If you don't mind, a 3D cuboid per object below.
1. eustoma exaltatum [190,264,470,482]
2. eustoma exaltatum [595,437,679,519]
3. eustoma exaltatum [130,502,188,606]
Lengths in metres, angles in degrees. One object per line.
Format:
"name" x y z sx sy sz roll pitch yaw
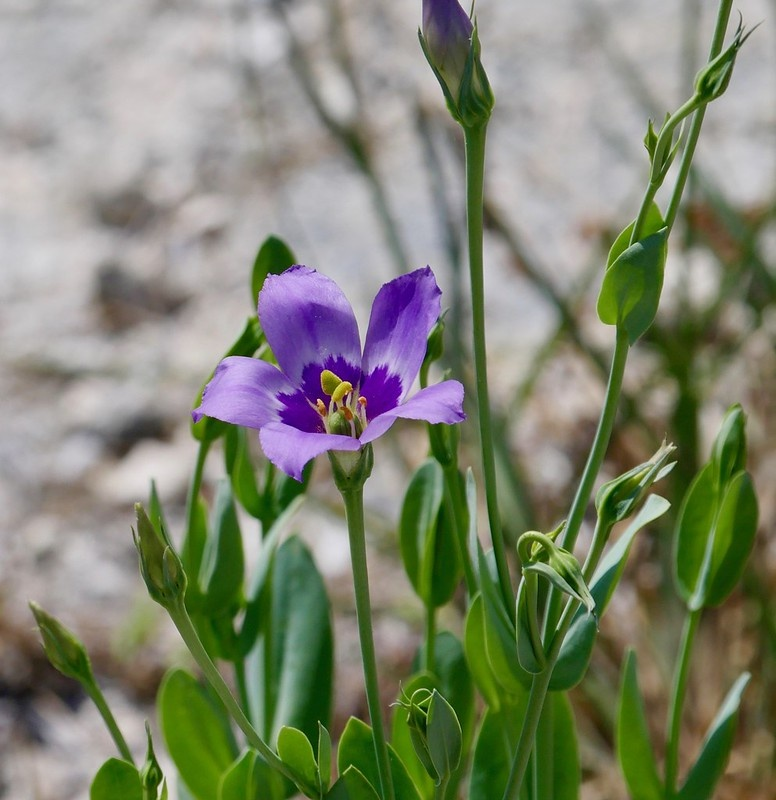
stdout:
"eustoma exaltatum" -0.034 -0.022 0.824 0.194 0.109 0.203 -12 -8 19
"eustoma exaltatum" 0.170 0.058 0.805 0.075 0.028 0.033 -39 -2 14
"eustoma exaltatum" -0.156 0.108 0.765 0.029 0.070 0.094 -10 -14 -13
